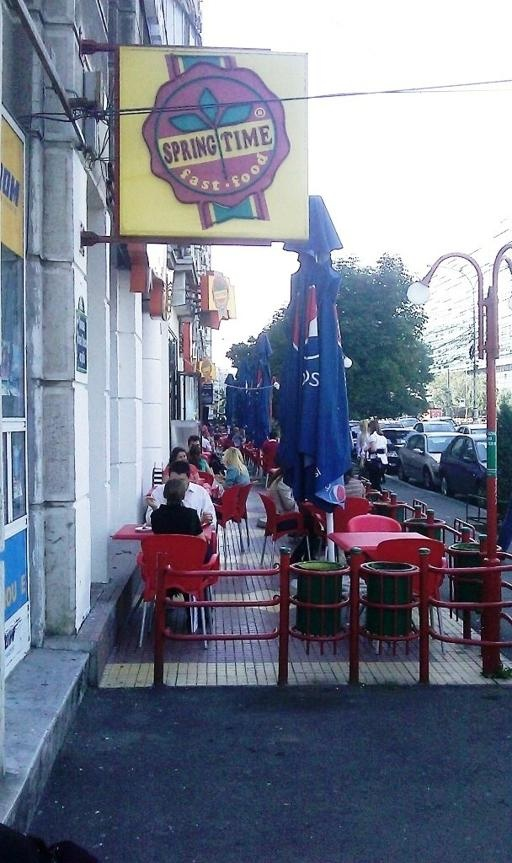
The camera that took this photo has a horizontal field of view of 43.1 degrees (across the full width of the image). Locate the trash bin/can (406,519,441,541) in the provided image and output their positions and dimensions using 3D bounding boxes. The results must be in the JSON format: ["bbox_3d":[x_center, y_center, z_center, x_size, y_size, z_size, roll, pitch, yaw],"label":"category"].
[{"bbox_3d":[1.837,1.061,7.068,0.217,0.318,0.251,1,-2,-6],"label":"trash bin/can"}]

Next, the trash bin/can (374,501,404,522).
[{"bbox_3d":[1.704,1.040,8.406,0.314,0.447,0.349,0,-1,-3],"label":"trash bin/can"}]

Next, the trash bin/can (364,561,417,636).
[{"bbox_3d":[0.965,1.234,4.890,0.358,0.561,0.427,1,-4,-7],"label":"trash bin/can"}]

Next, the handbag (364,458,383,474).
[{"bbox_3d":[2.887,0.847,15.831,0.393,0.376,0.237,-3,-11,34],"label":"handbag"}]

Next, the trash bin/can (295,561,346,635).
[{"bbox_3d":[0.457,1.233,4.822,0.382,0.601,0.454,0,0,4],"label":"trash bin/can"}]

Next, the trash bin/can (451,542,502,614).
[{"bbox_3d":[1.774,1.225,5.488,0.411,0.723,0.468,0,-5,-1],"label":"trash bin/can"}]
